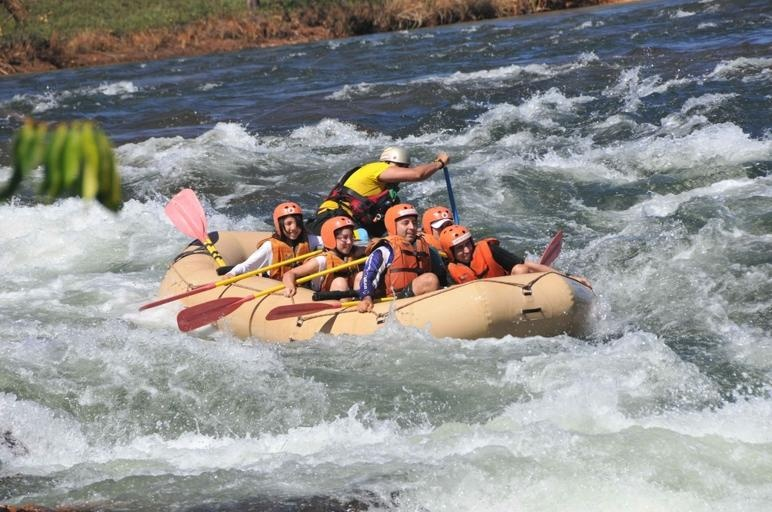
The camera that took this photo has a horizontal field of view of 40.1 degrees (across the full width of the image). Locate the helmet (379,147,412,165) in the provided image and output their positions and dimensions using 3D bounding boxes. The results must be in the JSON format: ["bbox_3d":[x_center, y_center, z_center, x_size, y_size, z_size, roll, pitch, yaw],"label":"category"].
[{"bbox_3d":[0.108,-1.487,15.500,0.439,0.266,0.299,9,-5,21],"label":"helmet"}]

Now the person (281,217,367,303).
[{"bbox_3d":[-0.877,0.076,14.758,0.760,0.889,1.242,-4,10,29],"label":"person"}]

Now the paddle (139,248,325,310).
[{"bbox_3d":[-2.078,0.334,14.886,3.364,0.348,0.150,-12,-19,-4],"label":"paddle"}]

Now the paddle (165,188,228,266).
[{"bbox_3d":[-2.947,-0.558,15.726,0.529,0.232,1.907,-45,53,-2],"label":"paddle"}]

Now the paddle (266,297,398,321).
[{"bbox_3d":[-0.712,0.706,14.140,1.710,0.055,0.189,-5,38,-12],"label":"paddle"}]

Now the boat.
[{"bbox_3d":[-0.211,0.671,14.210,3.984,0.673,2.070,4,15,21],"label":"boat"}]
